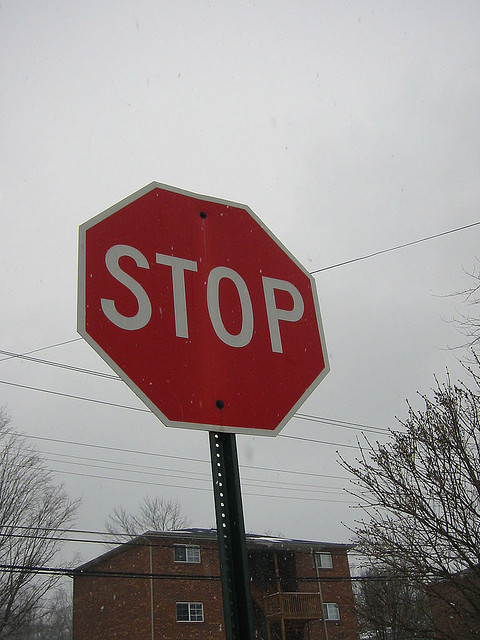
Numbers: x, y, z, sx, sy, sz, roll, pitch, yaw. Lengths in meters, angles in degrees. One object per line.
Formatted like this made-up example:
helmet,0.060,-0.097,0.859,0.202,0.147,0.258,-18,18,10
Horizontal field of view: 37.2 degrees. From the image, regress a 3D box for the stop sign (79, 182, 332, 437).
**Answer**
stop sign,-0.133,-0.012,2.138,0.666,0.653,0.012,16,-35,-32
